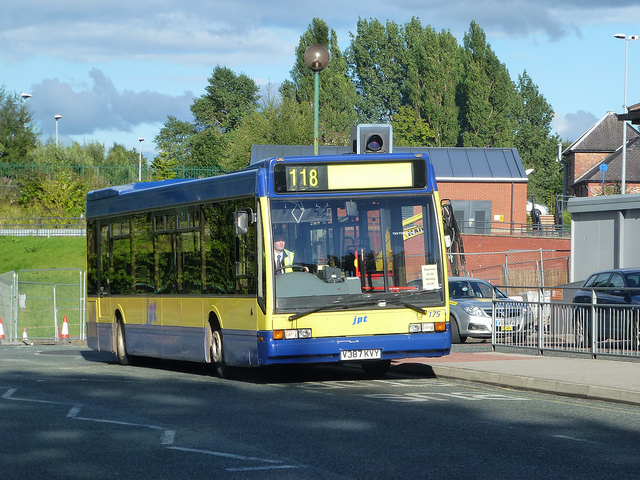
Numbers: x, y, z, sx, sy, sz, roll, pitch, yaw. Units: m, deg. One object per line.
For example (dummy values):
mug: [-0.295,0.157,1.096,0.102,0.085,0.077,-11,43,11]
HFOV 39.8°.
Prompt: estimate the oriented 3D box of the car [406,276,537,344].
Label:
car: [4.295,1.777,22.362,1.674,1.295,3.665,1,-5,-25]

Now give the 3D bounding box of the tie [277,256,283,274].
tie: [-0.641,0.395,14.301,0.081,0.279,0.062,0,2,-4]
